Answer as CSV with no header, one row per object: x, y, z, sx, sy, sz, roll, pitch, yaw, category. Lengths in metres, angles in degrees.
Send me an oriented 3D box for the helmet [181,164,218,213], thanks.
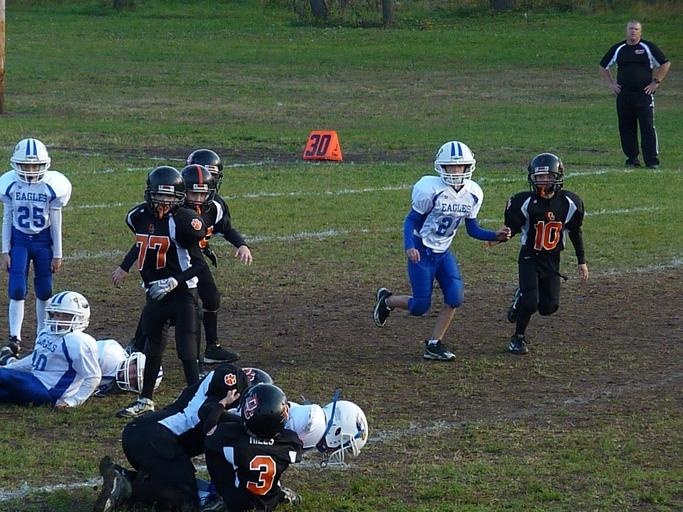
-1.798,-0.753,16.845,0.516,0.526,0.654,1,-15,1,helmet

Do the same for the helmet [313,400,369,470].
-0.008,2.016,14.722,0.599,0.585,0.445,35,11,-26,helmet

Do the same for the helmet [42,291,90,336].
-3.316,0.656,16.071,0.480,0.467,0.624,2,6,24,helmet

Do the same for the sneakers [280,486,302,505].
-0.543,2.639,14.547,0.111,0.156,0.232,-39,-38,26,sneakers

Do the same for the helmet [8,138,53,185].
-4.047,-1.296,17.203,0.504,0.484,0.607,-1,22,-18,helmet

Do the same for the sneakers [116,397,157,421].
-2.449,1.824,15.817,0.598,0.245,0.217,-3,10,-20,sneakers

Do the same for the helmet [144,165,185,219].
-2.110,-0.781,15.768,0.462,0.489,0.615,2,9,-9,helmet

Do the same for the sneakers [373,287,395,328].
0.586,0.678,17.586,0.203,0.529,0.267,7,4,-36,sneakers

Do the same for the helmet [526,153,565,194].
2.619,-0.990,17.160,0.433,0.451,0.561,1,-15,0,helmet

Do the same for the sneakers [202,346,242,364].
-1.547,1.269,16.979,0.523,0.236,0.189,-1,8,1,sneakers

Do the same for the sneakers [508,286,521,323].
2.296,0.664,17.456,0.168,0.466,0.212,11,21,-6,sneakers

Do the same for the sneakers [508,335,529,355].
2.314,1.125,17.202,0.271,0.236,0.327,1,9,8,sneakers

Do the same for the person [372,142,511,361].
1.265,-0.094,17.193,1.517,2.757,0.914,1,9,5,person

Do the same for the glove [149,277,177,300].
-2.113,0.376,15.709,0.330,0.212,0.137,-20,6,-38,glove

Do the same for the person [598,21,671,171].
5.598,-3.058,25.121,1.211,2.761,0.903,4,10,26,person
